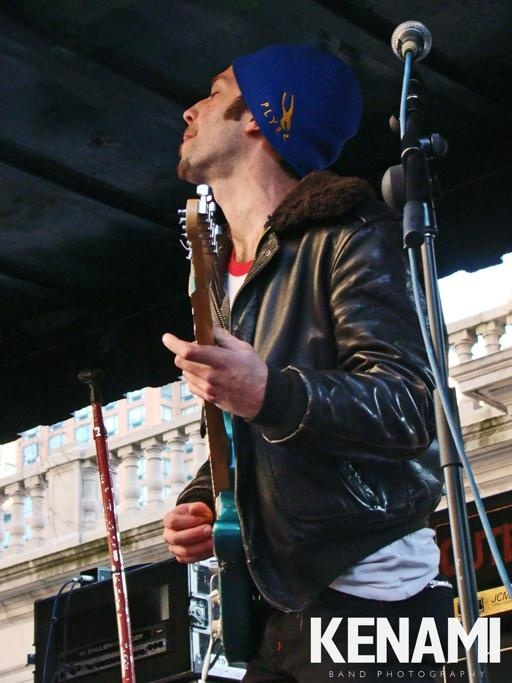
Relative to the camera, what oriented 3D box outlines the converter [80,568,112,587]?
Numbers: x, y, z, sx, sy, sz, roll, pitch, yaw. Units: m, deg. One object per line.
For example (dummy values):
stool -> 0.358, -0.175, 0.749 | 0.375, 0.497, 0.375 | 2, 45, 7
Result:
converter -> -0.694, 1.016, 6.183 | 0.112, 0.076, 0.163 | -2, -1, -32
